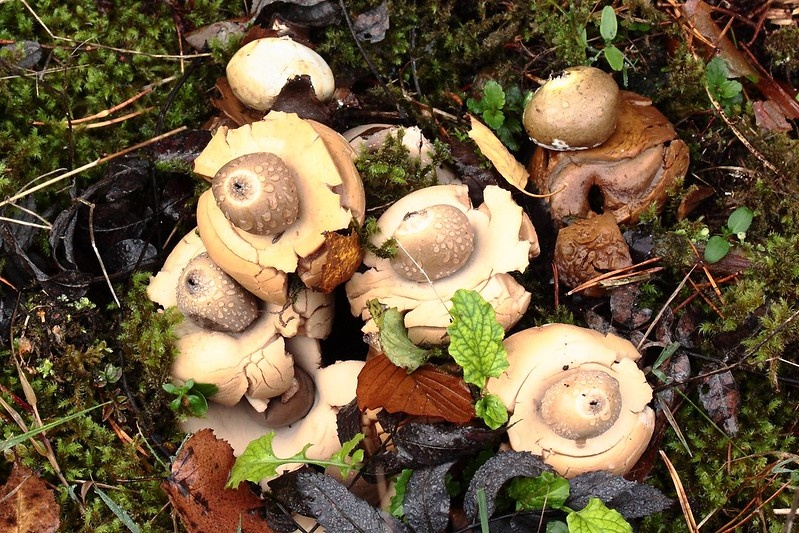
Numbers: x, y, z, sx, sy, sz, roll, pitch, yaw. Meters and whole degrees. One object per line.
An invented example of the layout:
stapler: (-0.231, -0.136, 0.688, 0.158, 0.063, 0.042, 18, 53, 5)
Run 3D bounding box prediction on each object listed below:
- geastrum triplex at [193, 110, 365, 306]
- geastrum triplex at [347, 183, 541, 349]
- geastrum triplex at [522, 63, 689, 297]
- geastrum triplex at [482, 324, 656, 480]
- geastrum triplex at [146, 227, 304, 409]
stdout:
geastrum triplex: (-0.537, -0.284, 3.845, 0.779, 0.355, 0.861, -37, 87, 5)
geastrum triplex: (0.177, -0.023, 3.728, 0.936, 0.283, 0.765, -13, 83, 1)
geastrum triplex: (1.029, -0.675, 4.033, 1.089, 0.406, 0.865, 52, 54, -26)
geastrum triplex: (0.831, 0.624, 3.863, 0.715, 0.306, 0.687, 41, 87, 2)
geastrum triplex: (-0.929, 0.280, 4.082, 0.750, 0.294, 0.810, -44, 98, 3)
